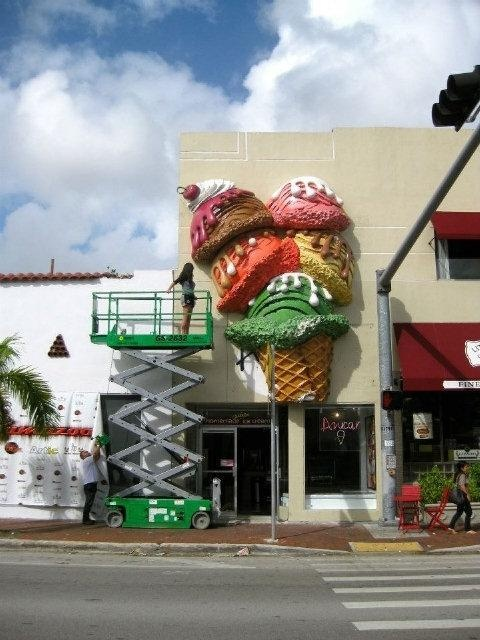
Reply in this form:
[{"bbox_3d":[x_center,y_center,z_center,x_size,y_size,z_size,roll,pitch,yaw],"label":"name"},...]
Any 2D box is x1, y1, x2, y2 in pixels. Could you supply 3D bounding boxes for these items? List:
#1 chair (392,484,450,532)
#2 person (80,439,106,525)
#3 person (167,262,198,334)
[{"bbox_3d":[3.641,3.706,18.256,1.213,0.853,0.811,1,-9,3],"label":"chair"},{"bbox_3d":[-3.090,3.310,18.804,0.323,1.563,0.537,2,-2,9],"label":"person"},{"bbox_3d":[-1.160,-0.453,19.478,0.495,1.459,0.626,5,-2,-11],"label":"person"}]
